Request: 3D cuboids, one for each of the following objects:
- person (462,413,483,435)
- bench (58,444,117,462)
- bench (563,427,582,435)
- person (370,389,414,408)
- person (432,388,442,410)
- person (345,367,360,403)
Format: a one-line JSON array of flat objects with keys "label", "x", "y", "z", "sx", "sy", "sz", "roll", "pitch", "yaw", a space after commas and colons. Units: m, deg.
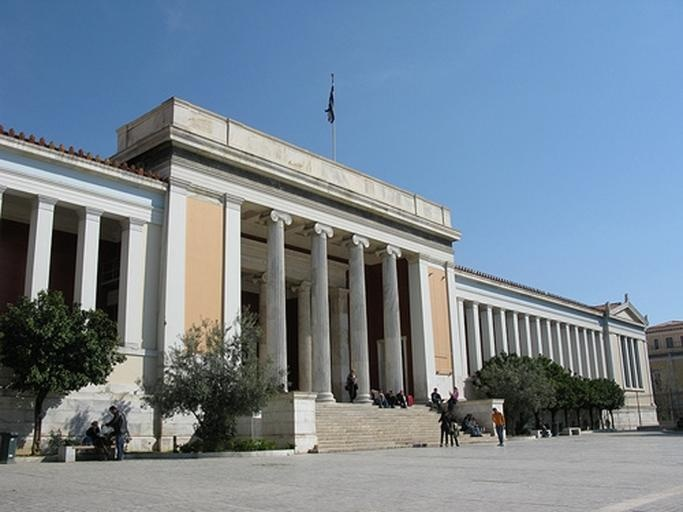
[{"label": "person", "x": 6.920, "y": 8.956, "z": 30.231, "sx": 1.103, "sy": 1.204, "sz": 1.878, "roll": -6, "pitch": -20, "yaw": 12}, {"label": "bench", "x": -8.112, "y": 6.274, "z": 18.200, "sx": 1.068, "sy": 0.528, "sz": 1.646, "roll": -17, "pitch": -25, "yaw": 35}, {"label": "bench", "x": 15.836, "y": 12.077, "z": 39.353, "sx": 1.194, "sy": 0.644, "sz": 4.054, "roll": -9, "pitch": -21, "yaw": 19}, {"label": "person", "x": 2.477, "y": 7.993, "z": 31.454, "sx": 0.602, "sy": 1.216, "sz": 2.670, "roll": -9, "pitch": -14, "yaw": 39}, {"label": "person", "x": 5.530, "y": 8.312, "z": 33.110, "sx": 0.605, "sy": 1.339, "sz": 0.681, "roll": 9, "pitch": -22, "yaw": -39}, {"label": "person", "x": 0.572, "y": 6.798, "z": 29.988, "sx": 0.574, "sy": 1.796, "sz": 0.978, "roll": -7, "pitch": -19, "yaw": 15}]
